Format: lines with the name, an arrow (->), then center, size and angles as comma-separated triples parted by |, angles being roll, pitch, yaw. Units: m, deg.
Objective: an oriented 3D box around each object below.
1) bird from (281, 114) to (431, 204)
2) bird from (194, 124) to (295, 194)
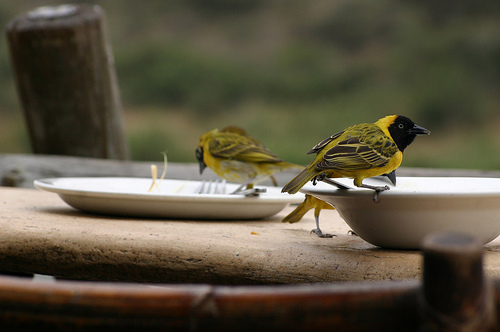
bird -> 0.262, -0.023, 1.563 | 0.364, 0.201, 0.158 | 0, 6, -15
bird -> -0.003, -0.027, 1.978 | 0.375, 0.206, 0.162 | -12, -12, 16
